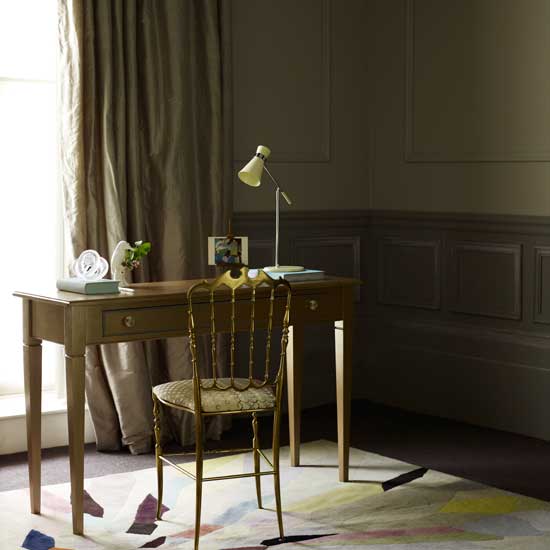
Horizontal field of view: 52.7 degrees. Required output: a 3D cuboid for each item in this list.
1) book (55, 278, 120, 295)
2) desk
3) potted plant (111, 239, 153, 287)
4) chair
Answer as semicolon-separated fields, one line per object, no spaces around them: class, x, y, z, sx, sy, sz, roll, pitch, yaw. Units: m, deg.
book;-0.634;0.038;1.829;0.255;0.053;0.116;-1;-2;24
desk;-0.256;0.490;2.162;1.234;1.003;0.481;-3;6;-33
potted plant;-0.579;-0.050;2.218;0.130;0.219;0.153;18;-1;-41
chair;-0.207;0.404;2.147;0.526;0.790;1.280;0;-1;-3
